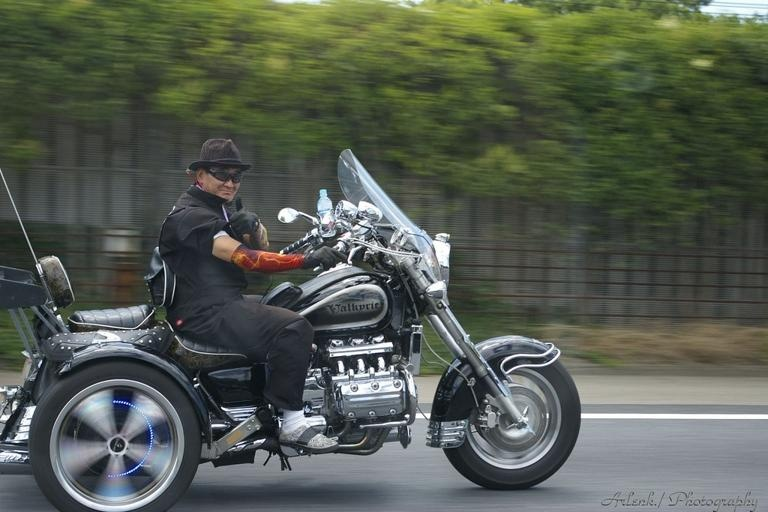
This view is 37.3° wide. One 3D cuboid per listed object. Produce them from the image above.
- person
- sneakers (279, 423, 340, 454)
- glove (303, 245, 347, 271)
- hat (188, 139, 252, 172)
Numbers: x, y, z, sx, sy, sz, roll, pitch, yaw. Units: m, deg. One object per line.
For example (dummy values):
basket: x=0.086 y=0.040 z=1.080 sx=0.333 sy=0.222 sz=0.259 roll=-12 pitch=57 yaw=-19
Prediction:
person: x=-1.188 y=0.345 z=9.878 sx=1.422 sy=2.697 sz=0.569 roll=1 pitch=7 yaw=18
sneakers: x=-0.652 y=1.577 z=9.816 sx=0.571 sy=0.170 sz=0.202 roll=4 pitch=-2 yaw=-4
glove: x=-0.496 y=0.026 z=9.863 sx=0.201 sy=0.206 sz=0.363 roll=4 pitch=7 yaw=40
hat: x=-1.420 y=-0.938 z=10.081 sx=0.537 sy=0.185 sz=0.553 roll=-11 pitch=23 yaw=-30
